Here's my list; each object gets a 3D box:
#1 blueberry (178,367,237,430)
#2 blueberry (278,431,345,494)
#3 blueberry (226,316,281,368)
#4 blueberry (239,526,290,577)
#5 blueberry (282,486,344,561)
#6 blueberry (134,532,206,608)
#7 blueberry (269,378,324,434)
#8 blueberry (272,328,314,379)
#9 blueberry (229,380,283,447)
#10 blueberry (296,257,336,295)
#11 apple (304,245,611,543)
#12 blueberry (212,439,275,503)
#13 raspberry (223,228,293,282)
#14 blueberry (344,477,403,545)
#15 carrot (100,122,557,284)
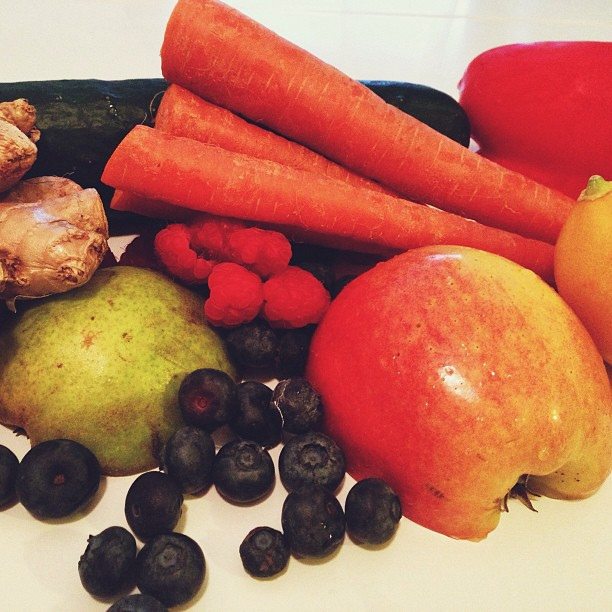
[{"bbox_3d":[-0.158,0.145,1.165,0.089,0.074,0.092,23,51,10],"label":"blueberry"},{"bbox_3d":[0.010,0.240,1.183,0.104,0.085,0.104,-6,18,-21],"label":"blueberry"},{"bbox_3d":[-0.092,0.063,1.302,0.096,0.075,0.093,12,24,35],"label":"blueberry"},{"bbox_3d":[-0.064,0.370,1.100,0.068,0.076,0.067,-29,61,-28],"label":"blueberry"},{"bbox_3d":[0.011,0.314,1.083,0.086,0.058,0.086,3,50,-7],"label":"blueberry"},{"bbox_3d":[-0.199,0.384,1.071,0.095,0.082,0.096,28,52,14],"label":"blueberry"},{"bbox_3d":[-0.016,0.159,1.216,0.089,0.085,0.097,-7,21,-26],"label":"blueberry"},{"bbox_3d":[-0.023,0.081,1.317,0.071,0.081,0.085,-21,32,-38],"label":"blueberry"},{"bbox_3d":[-0.078,0.167,1.178,0.095,0.054,0.097,0,83,-15],"label":"blueberry"},{"bbox_3d":[0.010,-0.064,1.410,0.078,0.075,0.074,-6,74,-10],"label":"blueberry"},{"bbox_3d":[0.239,0.129,1.164,0.402,0.276,0.407,-11,53,-18],"label":"apple"},{"bbox_3d":[-0.095,0.250,1.124,0.098,0.052,0.091,7,67,-9],"label":"blueberry"},{"bbox_3d":[-0.078,-0.092,1.235,0.123,0.085,0.087,-2,22,-5],"label":"raspberry"},{"bbox_3d":[0.095,0.300,1.077,0.097,0.053,0.087,-3,74,8],"label":"blueberry"},{"bbox_3d":[0.032,-0.188,1.320,0.762,0.104,0.094,11,83,3],"label":"carrot"}]
